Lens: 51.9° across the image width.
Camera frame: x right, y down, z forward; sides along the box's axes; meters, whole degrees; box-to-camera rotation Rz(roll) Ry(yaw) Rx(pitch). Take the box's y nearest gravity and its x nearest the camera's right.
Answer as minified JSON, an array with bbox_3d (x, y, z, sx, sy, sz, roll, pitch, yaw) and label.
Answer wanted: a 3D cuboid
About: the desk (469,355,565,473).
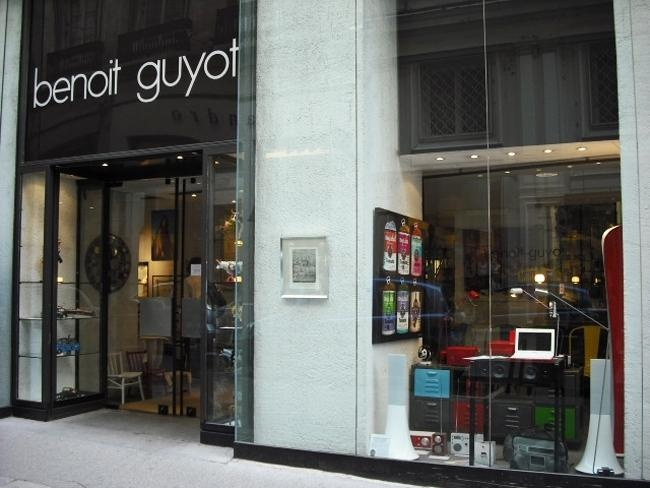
[{"bbox_3d":[1.931,1.656,6.624,0.869,1.055,0.582,-3,-10,32],"label":"desk"}]

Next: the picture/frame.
[{"bbox_3d":[-0.212,0.278,7.553,0.709,0.854,0.066,-2,-5,22],"label":"picture/frame"}]

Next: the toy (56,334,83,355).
[{"bbox_3d":[-3.576,1.417,9.341,0.082,0.274,0.420,-2,-5,17],"label":"toy"}]

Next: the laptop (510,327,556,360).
[{"bbox_3d":[2.115,1.002,6.778,0.486,0.332,0.287,0,-1,20],"label":"laptop"}]

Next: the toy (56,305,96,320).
[{"bbox_3d":[-3.514,0.970,9.489,0.067,0.190,0.601,-3,-6,28],"label":"toy"}]

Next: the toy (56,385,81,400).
[{"bbox_3d":[-3.538,2.056,9.279,0.069,0.191,0.421,-2,-6,19],"label":"toy"}]

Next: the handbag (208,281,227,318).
[{"bbox_3d":[-1.333,0.683,8.192,0.196,0.377,0.157,-13,5,26],"label":"handbag"}]
